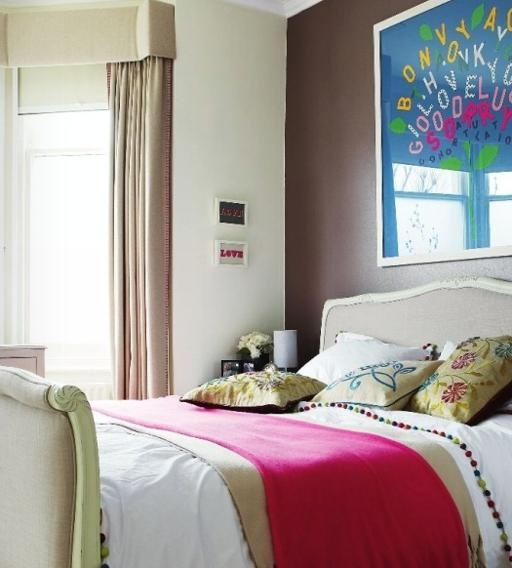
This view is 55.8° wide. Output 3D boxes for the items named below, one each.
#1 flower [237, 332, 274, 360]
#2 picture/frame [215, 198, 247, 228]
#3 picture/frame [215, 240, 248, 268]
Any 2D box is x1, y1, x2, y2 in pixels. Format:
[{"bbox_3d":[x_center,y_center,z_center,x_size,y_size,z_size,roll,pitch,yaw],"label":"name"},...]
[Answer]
[{"bbox_3d":[-0.014,0.472,3.711,0.198,0.137,0.197,2,-8,-37],"label":"flower"},{"bbox_3d":[-0.208,-0.554,3.794,0.218,0.171,0.029,3,-6,-39],"label":"picture/frame"},{"bbox_3d":[-0.192,-0.233,3.798,0.290,0.183,0.038,4,-2,-36],"label":"picture/frame"}]
